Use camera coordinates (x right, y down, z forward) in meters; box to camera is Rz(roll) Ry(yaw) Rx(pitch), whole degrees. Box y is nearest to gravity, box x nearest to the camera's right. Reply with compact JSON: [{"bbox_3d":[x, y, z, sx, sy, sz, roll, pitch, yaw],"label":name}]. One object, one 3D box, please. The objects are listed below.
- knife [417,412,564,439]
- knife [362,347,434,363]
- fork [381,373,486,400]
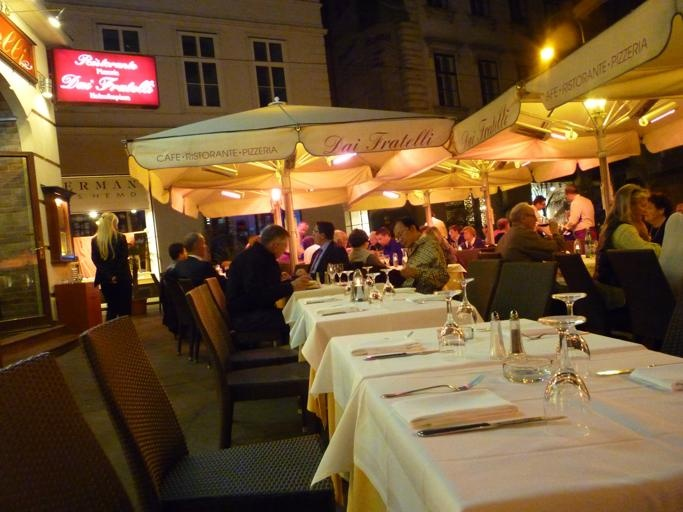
[{"bbox_3d":[0.424,0.487,1.525,0.287,0.016,0.032,-6,-4,-5],"label":"knife"},{"bbox_3d":[0.243,0.437,2.362,0.253,0.012,0.031,-3,8,-19],"label":"knife"},{"bbox_3d":[0.327,0.458,1.870,0.300,0.043,0.041,-3,-8,-18],"label":"fork"}]
